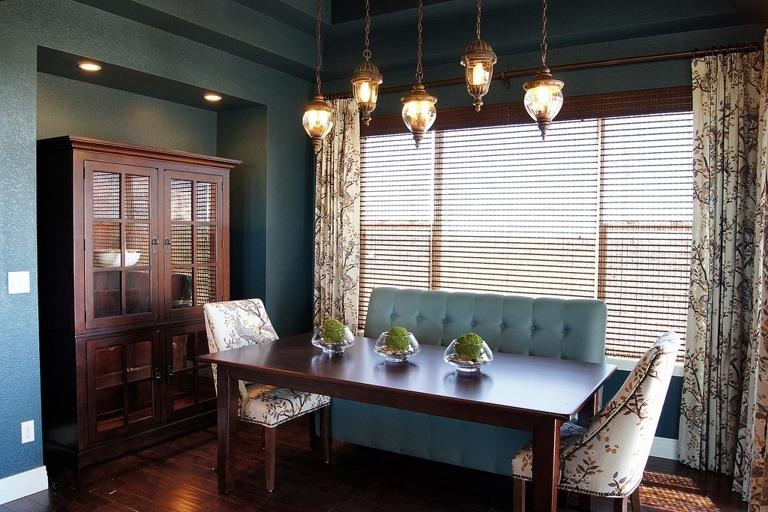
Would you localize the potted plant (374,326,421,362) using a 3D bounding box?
[{"bbox_3d":[0.083,0.596,3.863,0.242,0.164,0.244,-1,-1,11],"label":"potted plant"}]

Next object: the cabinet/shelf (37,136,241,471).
[{"bbox_3d":[-2.048,0.290,4.672,0.596,2.456,1.491,11,15,43],"label":"cabinet/shelf"}]

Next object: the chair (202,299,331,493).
[{"bbox_3d":[-0.863,0.944,4.376,0.746,1.187,0.864,-2,4,-43],"label":"chair"}]

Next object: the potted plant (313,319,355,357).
[{"bbox_3d":[-0.357,0.577,4.057,0.284,0.242,0.274,-1,11,-7],"label":"potted plant"}]
